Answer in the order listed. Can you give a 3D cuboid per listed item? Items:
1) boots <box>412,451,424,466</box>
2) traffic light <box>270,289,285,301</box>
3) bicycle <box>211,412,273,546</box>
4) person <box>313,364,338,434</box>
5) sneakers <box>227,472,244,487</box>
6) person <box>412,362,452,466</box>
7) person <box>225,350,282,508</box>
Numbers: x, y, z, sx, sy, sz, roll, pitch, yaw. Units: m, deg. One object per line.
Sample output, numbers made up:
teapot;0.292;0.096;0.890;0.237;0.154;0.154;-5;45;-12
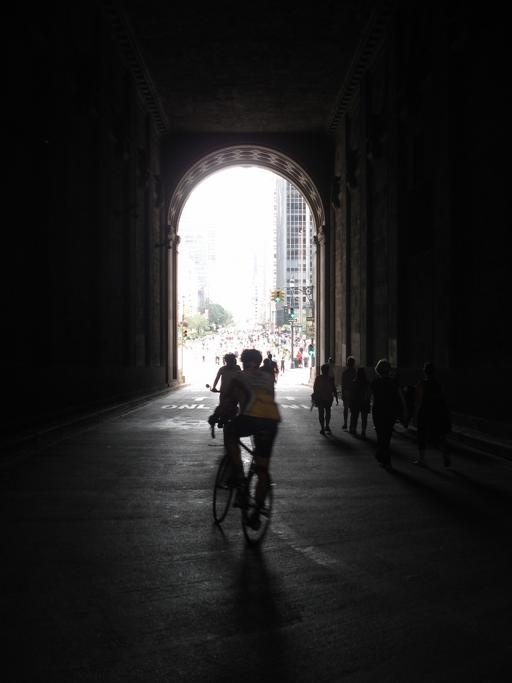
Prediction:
boots;3.163;2.209;11.244;0.195;0.262;1.361;0;-5;15
traffic light;2.058;-4.516;53.690;0.878;1.452;0.403;12;-7;-28
bicycle;-0.036;1.560;6.285;0.525;1.409;1.638;1;-9;-10
person;1.993;1.675;16.829;0.674;2.006;2.550;0;-4;8
sneakers;-0.201;1.340;5.566;0.198;0.152;0.167;-1;-4;16
person;3.296;1.351;10.747;0.602;1.881;0.751;-1;-3;21
person;-0.043;0.862;5.630;0.538;1.594;0.528;0;-3;1
